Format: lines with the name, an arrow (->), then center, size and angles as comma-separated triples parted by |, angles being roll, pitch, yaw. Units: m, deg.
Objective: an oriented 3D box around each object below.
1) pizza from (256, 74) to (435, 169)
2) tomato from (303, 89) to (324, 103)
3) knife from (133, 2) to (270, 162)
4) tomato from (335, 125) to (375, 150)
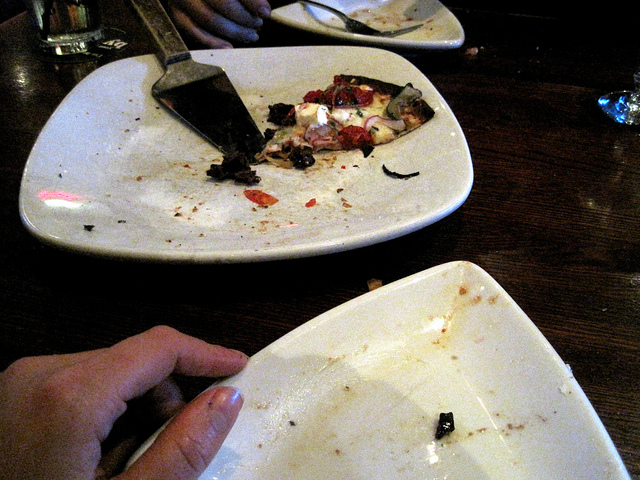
pizza -> 0.049, -0.350, 1.856 | 0.428, 0.103, 0.296 | -23, 50, -24
tomato -> -0.024, -0.440, 1.953 | 0.056, 0.024, 0.038 | -36, 44, 27
knife -> -0.418, -0.491, 1.944 | 0.213, 0.065, 0.778 | -31, 70, -22
tomato -> 0.102, -0.299, 1.812 | 0.087, 0.025, 0.075 | -26, 54, -24
